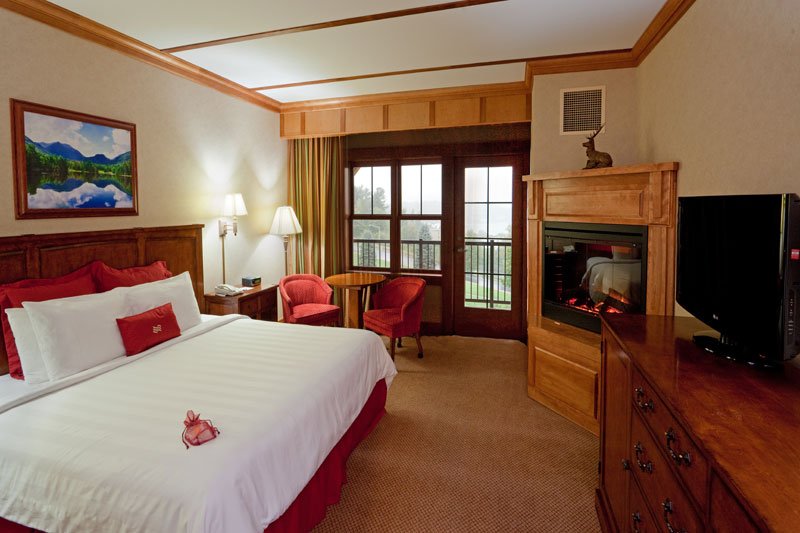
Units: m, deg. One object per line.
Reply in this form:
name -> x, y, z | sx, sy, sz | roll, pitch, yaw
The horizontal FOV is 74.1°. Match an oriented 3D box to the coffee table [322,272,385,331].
coffee table -> -0.615, 0.460, 6.689 | 0.735, 0.803, 0.728 | -7, 11, -38

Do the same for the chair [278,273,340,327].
chair -> -1.097, 0.472, 6.279 | 0.612, 0.704, 0.687 | -7, 8, -20

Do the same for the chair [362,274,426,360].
chair -> -0.044, 0.600, 6.296 | 0.632, 0.892, 0.651 | -6, 12, -42

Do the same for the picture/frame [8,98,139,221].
picture/frame -> -2.830, -0.899, 4.486 | 0.075, 1.082, 1.131 | 4, 4, 31

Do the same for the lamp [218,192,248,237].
lamp -> -1.904, -0.540, 5.991 | 0.311, 0.495, 0.269 | -3, 4, -1

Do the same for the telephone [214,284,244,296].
telephone -> -1.879, 0.271, 5.709 | 0.212, 0.075, 0.161 | 1, -2, 11
